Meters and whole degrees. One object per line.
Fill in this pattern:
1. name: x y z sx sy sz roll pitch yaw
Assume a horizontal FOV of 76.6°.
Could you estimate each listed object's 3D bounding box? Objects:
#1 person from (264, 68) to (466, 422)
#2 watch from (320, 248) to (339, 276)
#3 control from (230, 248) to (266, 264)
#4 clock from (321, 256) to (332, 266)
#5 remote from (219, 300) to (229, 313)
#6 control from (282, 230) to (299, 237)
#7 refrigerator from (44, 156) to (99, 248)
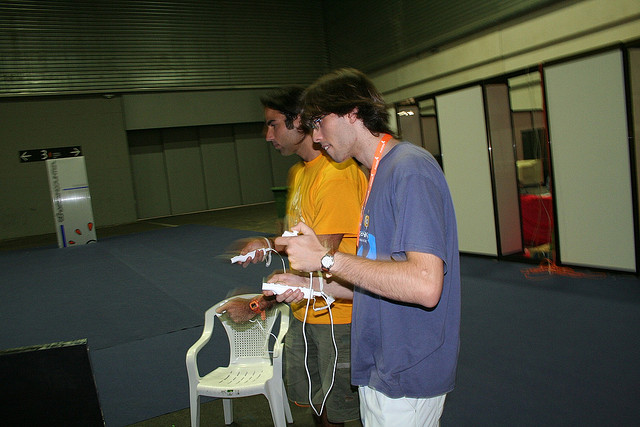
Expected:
1. person: 0.285 0.169 2.018 0.772 1.741 0.498 1 13 24
2. watch: 0.055 0.228 1.923 0.076 0.098 0.094 6 -26 23
3. control: -0.479 0.273 2.695 0.189 0.051 0.047 -26 -22 -24
4. clock: 0.033 0.219 1.875 0.044 0.031 0.039 -5 7 -33
5. remote: -0.796 0.759 3.359 0.025 0.101 0.097 15 37 1
6. control: -0.160 0.108 2.191 0.040 0.014 0.039 -12 23 -17
7. refrigerator: -7.191 -0.331 11.645 1.071 2.433 0.583 -13 14 -33
